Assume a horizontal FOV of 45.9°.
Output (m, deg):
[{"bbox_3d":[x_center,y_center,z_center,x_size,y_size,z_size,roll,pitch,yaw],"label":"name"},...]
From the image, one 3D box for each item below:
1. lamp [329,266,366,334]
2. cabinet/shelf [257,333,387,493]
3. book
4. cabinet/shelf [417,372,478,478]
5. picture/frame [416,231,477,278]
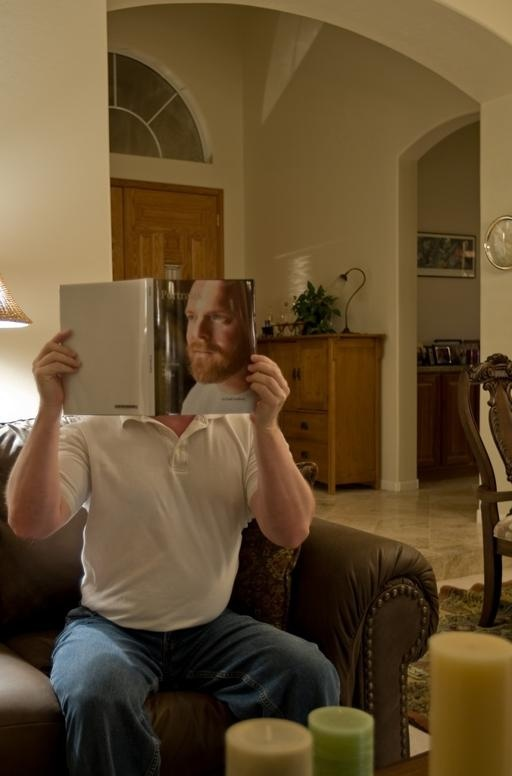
[{"bbox_3d":[0.840,-0.829,5.481,0.118,0.482,0.373,5,4,-27],"label":"lamp"},{"bbox_3d":[0.559,0.165,4.168,0.538,1.322,1.301,1,-1,-29],"label":"cabinet/shelf"},{"bbox_3d":[-0.182,-0.074,1.069,0.363,0.274,0.063,8,3,4],"label":"book"},{"bbox_3d":[1.564,0.300,5.078,0.926,0.902,0.353,1,-3,-38],"label":"cabinet/shelf"},{"bbox_3d":[2.029,-1.410,6.447,0.828,0.466,0.057,6,3,-24],"label":"picture/frame"}]
